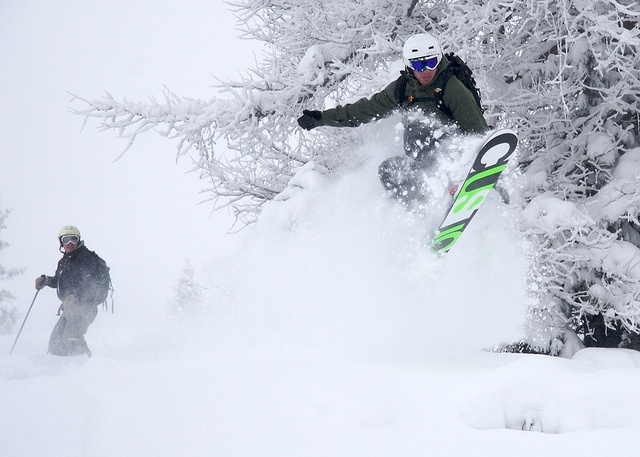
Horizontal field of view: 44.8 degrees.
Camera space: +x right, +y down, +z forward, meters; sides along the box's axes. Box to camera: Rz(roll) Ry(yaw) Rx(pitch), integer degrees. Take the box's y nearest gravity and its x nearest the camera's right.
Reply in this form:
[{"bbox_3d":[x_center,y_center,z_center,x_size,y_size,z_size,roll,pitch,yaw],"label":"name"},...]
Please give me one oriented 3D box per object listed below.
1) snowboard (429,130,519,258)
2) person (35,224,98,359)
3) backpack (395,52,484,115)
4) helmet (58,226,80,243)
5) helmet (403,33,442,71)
[{"bbox_3d":[2.106,-0.574,10.321,0.536,0.295,2.585,-1,-41,-34],"label":"snowboard"},{"bbox_3d":[-3.943,0.993,12.266,0.825,1.942,1.007,5,13,41],"label":"person"},{"bbox_3d":[1.577,-1.935,10.469,1.165,0.811,0.381,-1,10,13],"label":"backpack"},{"bbox_3d":[-3.754,0.096,11.571,0.279,0.288,0.360,-7,5,-10],"label":"helmet"},{"bbox_3d":[1.363,-2.301,10.261,0.385,0.528,0.500,0,11,11],"label":"helmet"}]
